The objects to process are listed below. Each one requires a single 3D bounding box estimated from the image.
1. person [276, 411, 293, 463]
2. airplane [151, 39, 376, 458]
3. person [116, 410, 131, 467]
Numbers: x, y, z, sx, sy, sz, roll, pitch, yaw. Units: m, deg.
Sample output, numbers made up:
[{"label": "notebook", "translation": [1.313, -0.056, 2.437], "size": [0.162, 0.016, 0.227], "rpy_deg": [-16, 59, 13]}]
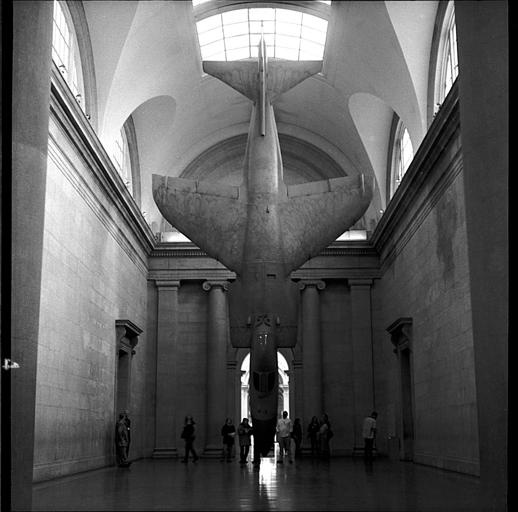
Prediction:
[{"label": "person", "translation": [0.802, 5.628, 16.577], "size": [0.371, 1.759, 0.345], "rpy_deg": [-1, 8, 4]}, {"label": "airplane", "translation": [0.137, -0.358, 13.913], "size": [5.071, 10.965, 1.888], "rpy_deg": [1, -12, -9]}, {"label": "person", "translation": [-3.596, 4.837, 13.949], "size": [0.388, 1.397, 0.862], "rpy_deg": [2, -14, -16]}]
